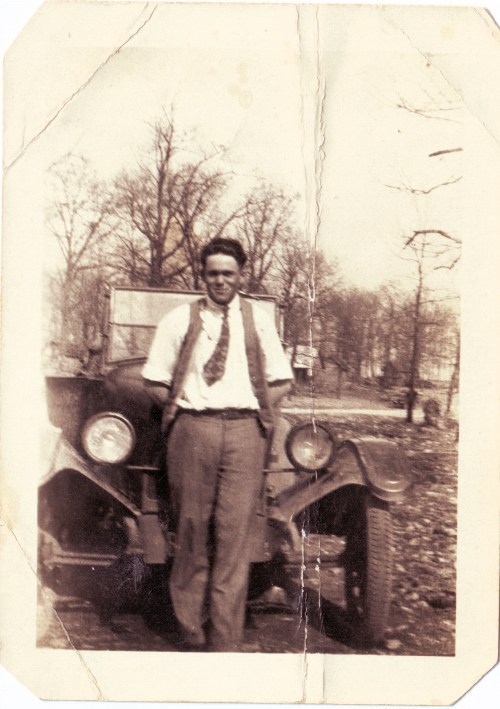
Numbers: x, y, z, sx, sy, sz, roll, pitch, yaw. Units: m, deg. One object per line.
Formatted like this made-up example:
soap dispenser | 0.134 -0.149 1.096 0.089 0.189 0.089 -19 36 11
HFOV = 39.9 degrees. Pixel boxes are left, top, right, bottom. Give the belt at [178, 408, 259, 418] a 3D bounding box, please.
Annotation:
belt | -0.115 0.204 2.452 0.286 0.038 0.019 6 0 -4

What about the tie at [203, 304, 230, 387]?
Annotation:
tie | -0.114 -0.042 2.440 0.080 0.380 0.025 0 39 -12
